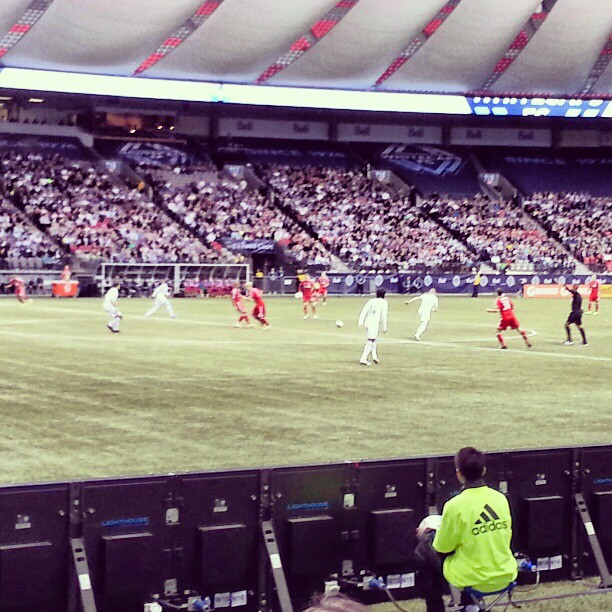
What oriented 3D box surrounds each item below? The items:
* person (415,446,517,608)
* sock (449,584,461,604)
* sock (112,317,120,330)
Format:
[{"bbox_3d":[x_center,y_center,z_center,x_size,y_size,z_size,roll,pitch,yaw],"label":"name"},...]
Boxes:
[{"bbox_3d":[1.410,1.862,10.098,0.674,1.258,0.315,-2,-4,7],"label":"person"},{"bbox_3d":[1.276,2.548,10.293,0.074,0.165,0.131,1,-5,-37],"label":"sock"},{"bbox_3d":[-5.118,0.506,31.445,0.173,0.458,0.138,19,35,10],"label":"sock"}]
